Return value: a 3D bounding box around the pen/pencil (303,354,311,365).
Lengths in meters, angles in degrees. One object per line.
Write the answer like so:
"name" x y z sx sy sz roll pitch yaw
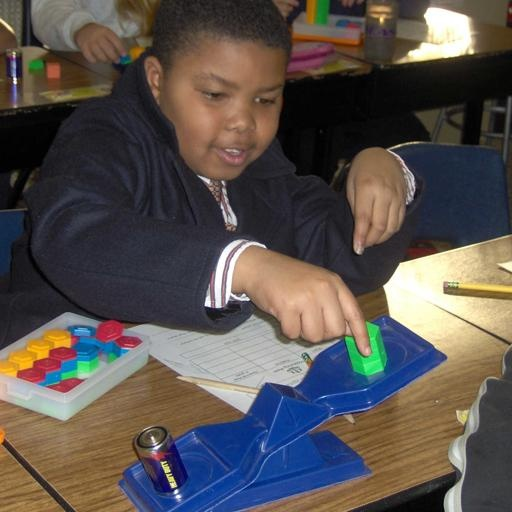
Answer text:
"pen/pencil" 0.077 0.154 0.707 0.013 0.003 0.009 41 31 23
